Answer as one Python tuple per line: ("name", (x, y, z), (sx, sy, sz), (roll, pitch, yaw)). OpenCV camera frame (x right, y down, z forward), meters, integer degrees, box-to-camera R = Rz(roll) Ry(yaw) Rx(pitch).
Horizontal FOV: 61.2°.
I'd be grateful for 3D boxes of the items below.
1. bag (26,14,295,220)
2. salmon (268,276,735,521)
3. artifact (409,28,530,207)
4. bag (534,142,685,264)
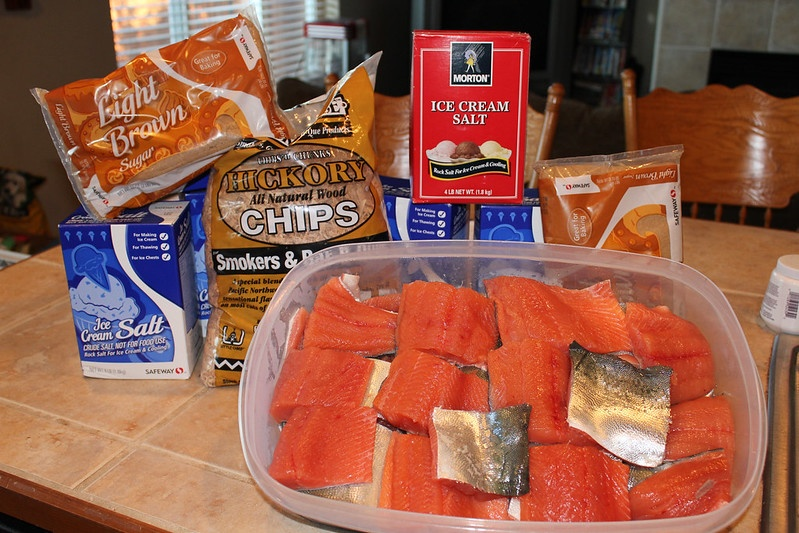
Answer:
("bag", (-0.462, -0.295, 1.351), (0.468, 0.306, 0.126), (-20, -11, -7))
("salmon", (0.155, 0.209, 1.112), (0.602, 0.184, 0.404), (4, 63, 0))
("artifact", (0.143, -0.313, 1.377), (0.240, 0.332, 0.192), (-2, 27, 0))
("bag", (0.412, -0.115, 1.323), (0.314, 0.255, 0.065), (-3, 11, 8))
